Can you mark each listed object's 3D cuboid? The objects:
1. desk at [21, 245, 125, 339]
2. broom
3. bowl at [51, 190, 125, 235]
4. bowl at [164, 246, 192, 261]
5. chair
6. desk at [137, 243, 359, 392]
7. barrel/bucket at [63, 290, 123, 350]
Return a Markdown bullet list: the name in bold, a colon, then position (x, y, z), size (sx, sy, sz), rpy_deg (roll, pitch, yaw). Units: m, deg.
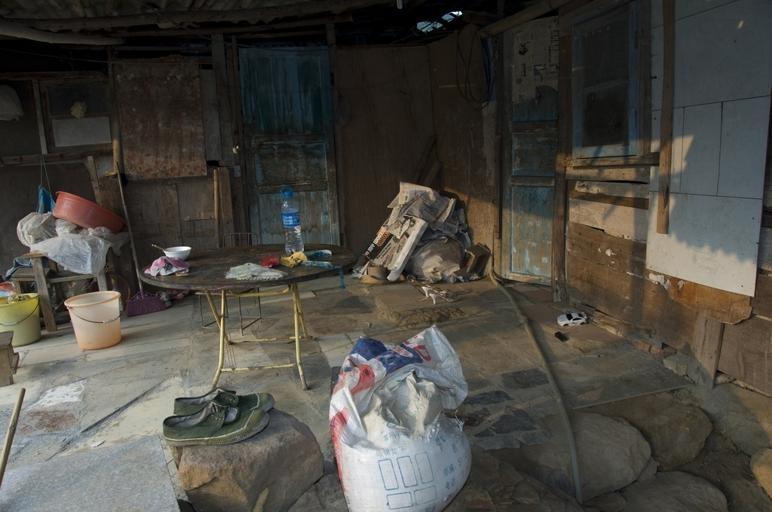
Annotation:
- **desk**: position (-3.930, 0.391, 5.954), size (1.095, 1.150, 1.025), rpy_deg (2, 14, 11)
- **broom**: position (-3.302, -0.177, 6.161), size (0.634, 2.003, 0.161), rpy_deg (-16, -7, 11)
- **bowl**: position (-3.630, -0.517, 5.824), size (0.568, 0.244, 0.627), rpy_deg (19, -6, 31)
- **bowl**: position (-1.930, -0.026, 4.442), size (0.203, 0.084, 0.189), rpy_deg (-2, -3, 0)
- **chair**: position (-1.716, 0.372, 5.429), size (0.664, 0.952, 0.686), rpy_deg (-2, 0, -25)
- **desk**: position (-1.207, 0.431, 4.349), size (1.327, 0.661, 1.232), rpy_deg (-9, 22, -25)
- **barrel/bucket**: position (-3.171, 0.690, 5.184), size (0.566, 0.451, 0.569), rpy_deg (0, 11, 0)
